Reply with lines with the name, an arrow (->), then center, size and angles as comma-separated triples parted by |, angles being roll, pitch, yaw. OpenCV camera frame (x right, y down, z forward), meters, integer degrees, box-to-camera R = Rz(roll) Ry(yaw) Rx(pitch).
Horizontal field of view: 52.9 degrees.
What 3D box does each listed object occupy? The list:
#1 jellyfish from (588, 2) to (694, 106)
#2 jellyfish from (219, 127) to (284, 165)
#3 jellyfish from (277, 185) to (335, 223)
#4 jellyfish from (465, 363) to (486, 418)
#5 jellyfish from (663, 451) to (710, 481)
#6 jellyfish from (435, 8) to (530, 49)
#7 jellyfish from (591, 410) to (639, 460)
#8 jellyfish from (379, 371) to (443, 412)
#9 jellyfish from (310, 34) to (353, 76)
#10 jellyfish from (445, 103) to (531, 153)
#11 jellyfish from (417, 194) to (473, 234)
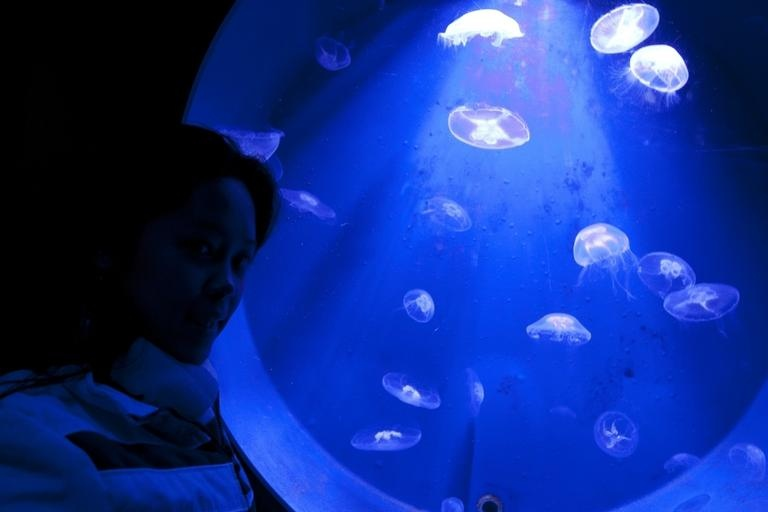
jellyfish -> 1.835, -1.454, 5.559 | 0.722, 0.533, 0.415 | 29, -24, -24
jellyfish -> -0.912, -0.792, 5.359 | 0.096, 0.268, 0.274 | -29, -86, 47
jellyfish -> -0.539, -0.376, 5.486 | 0.433, 0.139, 0.048 | 26, -23, -17
jellyfish -> 0.659, 0.987, 5.682 | 0.203, 0.283, 0.080 | 27, -23, -23
jellyfish -> 2.149, 1.501, 5.543 | 0.157, 0.235, 0.058 | 57, 3, 10
jellyfish -> 0.711, -1.627, 5.549 | 0.599, 0.356, 0.160 | 20, -21, -3
jellyfish -> 1.702, 1.300, 5.647 | 0.295, 0.324, 0.105 | -7, -9, 1
jellyfish -> 0.205, 0.978, 5.604 | 0.468, 0.185, 0.087 | 22, -22, -8
jellyfish -> -0.363, -1.457, 5.503 | 0.330, 0.396, 0.143 | -28, -90, 44
jellyfish -> 0.780, -0.964, 5.689 | 0.634, 0.279, 0.269 | 19, -22, 1
jellyfish -> 0.459, -0.305, 5.722 | 0.424, 0.232, 0.094 | 25, -22, -16
